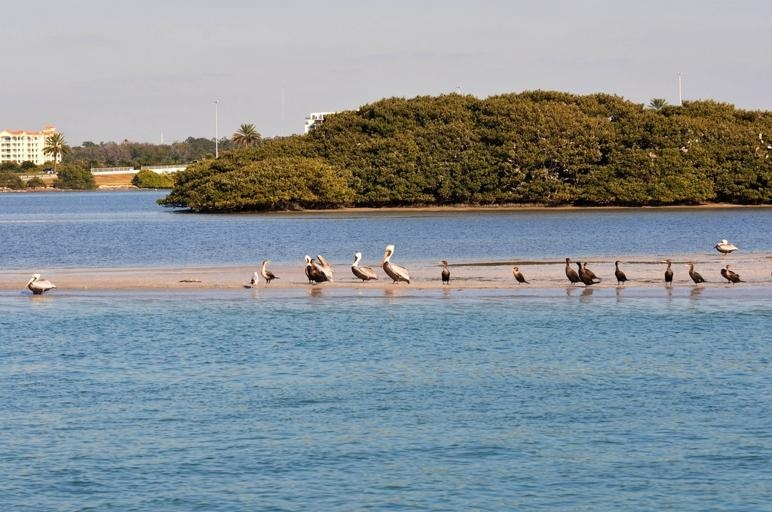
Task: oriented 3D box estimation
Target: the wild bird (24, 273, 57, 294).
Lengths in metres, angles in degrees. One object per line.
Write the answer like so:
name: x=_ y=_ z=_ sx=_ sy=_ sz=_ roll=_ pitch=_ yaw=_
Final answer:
wild bird: x=-18.370 y=1.543 z=85.925 sx=1.388 sy=1.029 sz=1.588 roll=-2 pitch=2 yaw=-11
